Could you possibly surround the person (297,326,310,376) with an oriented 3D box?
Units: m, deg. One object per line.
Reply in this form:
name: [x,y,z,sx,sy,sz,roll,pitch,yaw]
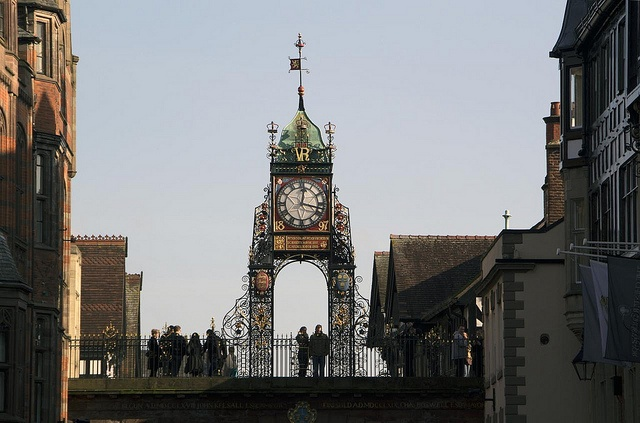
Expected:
person: [-0.654,5.478,80.026,0.496,1.992,0.809,0,-21,-1]
